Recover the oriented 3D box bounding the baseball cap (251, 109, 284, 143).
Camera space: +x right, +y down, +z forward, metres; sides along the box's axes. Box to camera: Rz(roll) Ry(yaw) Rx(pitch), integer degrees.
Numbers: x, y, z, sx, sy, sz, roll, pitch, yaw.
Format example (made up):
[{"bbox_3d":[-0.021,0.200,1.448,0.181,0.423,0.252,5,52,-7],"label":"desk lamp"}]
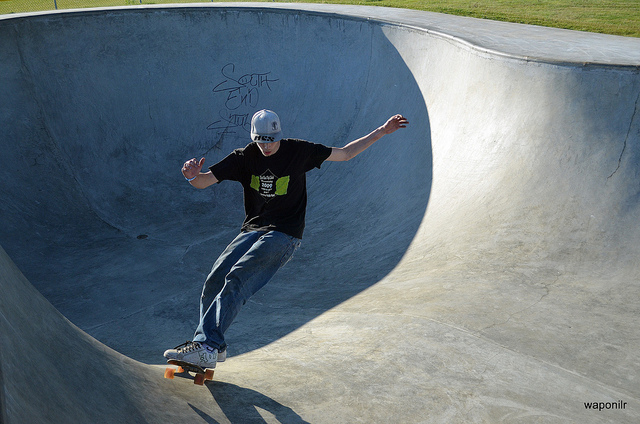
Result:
[{"bbox_3d":[-0.633,-1.043,6.139,0.389,0.262,0.509,-6,35,-9],"label":"baseball cap"}]
